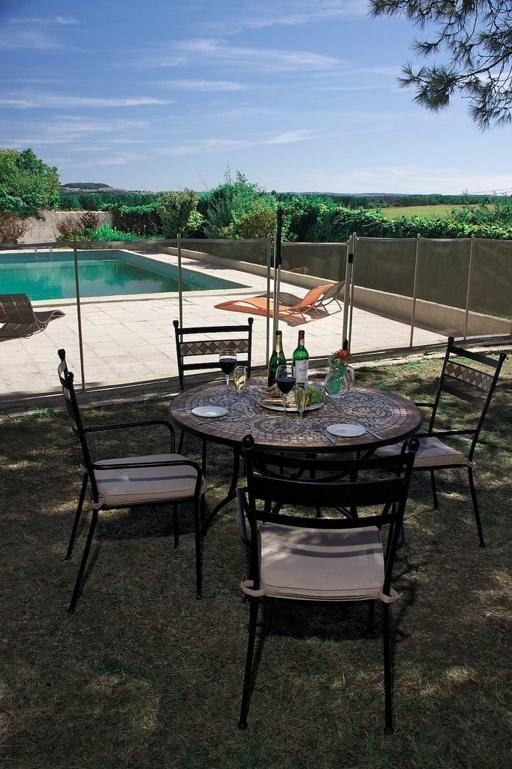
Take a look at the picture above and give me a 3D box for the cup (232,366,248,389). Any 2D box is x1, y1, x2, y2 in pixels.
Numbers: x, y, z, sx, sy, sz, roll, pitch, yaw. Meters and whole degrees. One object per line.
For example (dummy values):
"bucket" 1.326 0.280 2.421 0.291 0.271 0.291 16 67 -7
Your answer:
"cup" -0.096 -0.037 3.219 0.068 0.157 0.072 -1 29 0
